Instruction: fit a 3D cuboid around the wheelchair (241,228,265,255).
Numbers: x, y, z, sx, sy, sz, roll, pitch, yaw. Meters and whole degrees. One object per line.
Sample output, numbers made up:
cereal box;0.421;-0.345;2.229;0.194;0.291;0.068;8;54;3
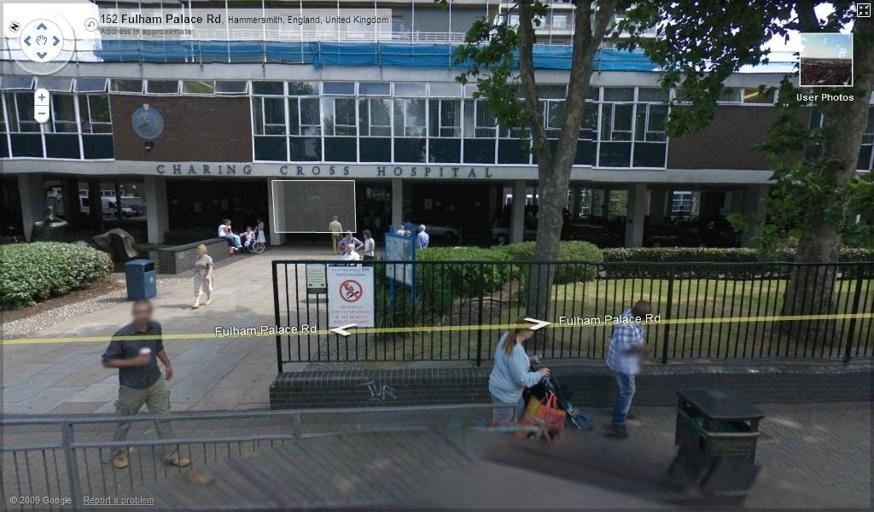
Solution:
wheelchair;-9.500;-0.797;38.019;1.588;1.369;0.978;-1;16;-10

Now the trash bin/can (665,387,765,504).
trash bin/can;7.842;5.269;20.701;2.317;2.817;1.371;0;6;16

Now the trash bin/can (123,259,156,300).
trash bin/can;-11.366;0.923;28.188;1.009;1.540;0.637;-5;7;-26

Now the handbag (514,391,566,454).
handbag;2.992;4.530;20.561;1.234;1.244;1.151;-1;6;9

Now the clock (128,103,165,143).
clock;-14.601;-6.728;37.094;1.655;1.873;0.291;-1;7;7
